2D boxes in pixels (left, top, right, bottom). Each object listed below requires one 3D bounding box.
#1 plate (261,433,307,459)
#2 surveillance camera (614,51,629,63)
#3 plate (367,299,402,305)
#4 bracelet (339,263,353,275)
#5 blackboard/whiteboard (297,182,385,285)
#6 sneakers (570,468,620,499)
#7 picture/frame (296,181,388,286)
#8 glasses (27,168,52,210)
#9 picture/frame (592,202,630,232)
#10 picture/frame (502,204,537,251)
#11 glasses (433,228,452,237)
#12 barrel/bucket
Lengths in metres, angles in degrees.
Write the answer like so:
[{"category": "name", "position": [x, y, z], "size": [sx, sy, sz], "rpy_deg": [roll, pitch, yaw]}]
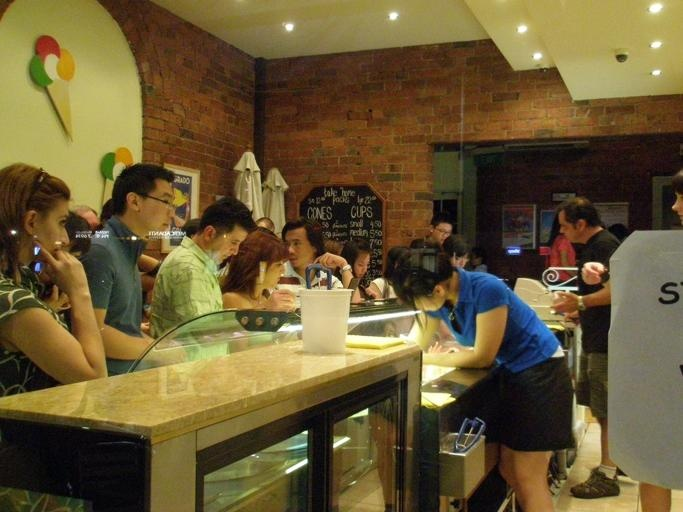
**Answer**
[{"category": "plate", "position": [-0.107, 0.378, 1.038], "size": [0.057, 0.025, 0.081], "rpy_deg": [-26, -4, -25]}, {"category": "surveillance camera", "position": [1.622, -1.152, 3.029], "size": [0.063, 0.052, 0.066], "rpy_deg": [0, -2, 5]}, {"category": "plate", "position": [0.155, 0.171, 1.892], "size": [0.080, 0.017, 0.047], "rpy_deg": [0, -1, -6]}, {"category": "bracelet", "position": [0.019, 0.066, 2.623], "size": [0.056, 0.057, 0.037], "rpy_deg": [38, 15, -40]}, {"category": "blackboard/whiteboard", "position": [0.006, -0.121, 2.767], "size": [0.449, 0.635, 0.020], "rpy_deg": [0, -32, -4]}, {"category": "sneakers", "position": [1.534, 1.396, 3.220], "size": [0.293, 0.169, 0.139], "rpy_deg": [1, -6, 4]}, {"category": "picture/frame", "position": [-0.017, -0.122, 2.732], "size": [0.423, 0.593, 0.018], "rpy_deg": [-3, -22, -16]}, {"category": "glasses", "position": [-0.788, -0.175, 1.352], "size": [0.020, 0.076, 0.062], "rpy_deg": [25, 8, -27]}, {"category": "picture/frame", "position": [1.293, -0.167, 2.520], "size": [0.157, 0.154, 0.106], "rpy_deg": [-1, -7, 30]}, {"category": "picture/frame", "position": [1.176, -0.202, 3.482], "size": [0.204, 0.341, 0.041], "rpy_deg": [0, 30, 17]}, {"category": "glasses", "position": [0.556, -0.126, 2.883], "size": [0.080, 0.025, 0.080], "rpy_deg": [5, 0, -38]}, {"category": "barrel/bucket", "position": [-0.046, 0.147, 1.303], "size": [0.148, 0.167, 0.161], "rpy_deg": [1, 9, 0]}]
